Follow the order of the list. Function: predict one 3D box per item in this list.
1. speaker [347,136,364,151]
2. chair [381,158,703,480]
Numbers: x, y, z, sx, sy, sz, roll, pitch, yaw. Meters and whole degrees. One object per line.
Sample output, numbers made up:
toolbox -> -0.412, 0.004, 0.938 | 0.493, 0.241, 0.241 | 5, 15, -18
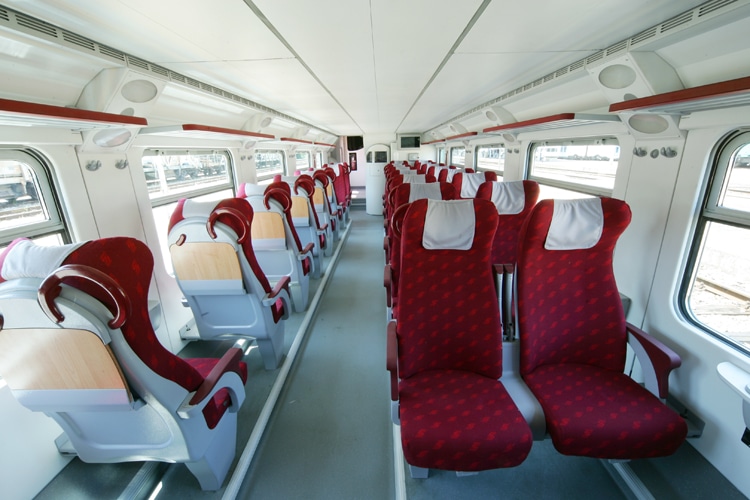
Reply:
speaker -> -0.646, -3.804, 14.978 | 0.430, 0.525, 0.899 | -11, 15, -26
chair -> 1.152, 0.563, 3.299 | 2.147, 1.921, 0.931 | -4, 14, -2
